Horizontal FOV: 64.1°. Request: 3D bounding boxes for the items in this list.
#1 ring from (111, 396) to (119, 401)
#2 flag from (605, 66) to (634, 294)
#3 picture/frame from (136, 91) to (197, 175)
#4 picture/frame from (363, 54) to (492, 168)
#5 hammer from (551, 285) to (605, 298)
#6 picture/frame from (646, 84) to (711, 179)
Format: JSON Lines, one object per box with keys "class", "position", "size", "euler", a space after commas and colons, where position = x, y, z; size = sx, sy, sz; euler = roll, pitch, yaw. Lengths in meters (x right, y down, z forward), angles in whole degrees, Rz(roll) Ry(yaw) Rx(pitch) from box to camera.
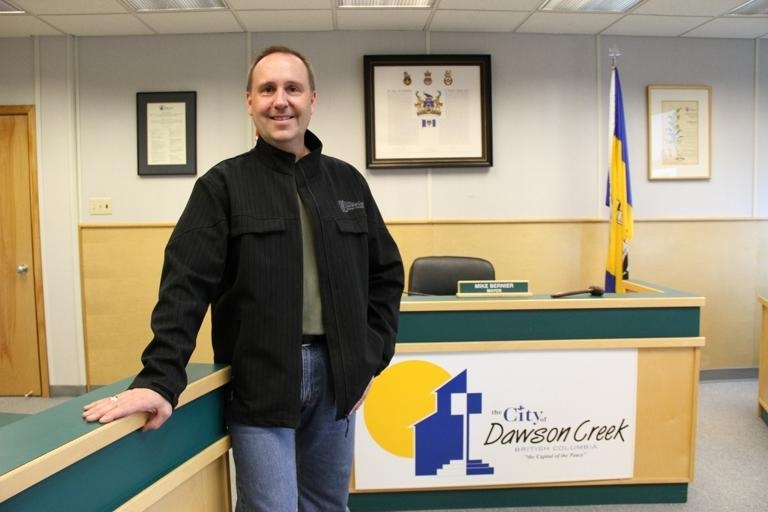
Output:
{"class": "ring", "position": [-1.292, 0.681, 2.954], "size": [0.027, 0.022, 0.022], "euler": [1, 1, 30]}
{"class": "flag", "position": [2.115, -0.705, 5.520], "size": [0.224, 2.028, 0.435], "euler": [2, 6, 19]}
{"class": "picture/frame", "position": [-2.025, -1.177, 5.724], "size": [0.756, 1.005, 0.036], "euler": [1, 5, 2]}
{"class": "picture/frame", "position": [0.358, -1.390, 5.755], "size": [1.043, 0.900, 0.090], "euler": [-1, 4, -1]}
{"class": "hammer", "position": [1.305, 0.237, 4.228], "size": [0.379, 0.069, 0.235], "euler": [-1, 6, -3]}
{"class": "picture/frame", "position": [2.811, -1.238, 5.945], "size": [0.893, 1.268, 0.047], "euler": [-1, 2, -7]}
